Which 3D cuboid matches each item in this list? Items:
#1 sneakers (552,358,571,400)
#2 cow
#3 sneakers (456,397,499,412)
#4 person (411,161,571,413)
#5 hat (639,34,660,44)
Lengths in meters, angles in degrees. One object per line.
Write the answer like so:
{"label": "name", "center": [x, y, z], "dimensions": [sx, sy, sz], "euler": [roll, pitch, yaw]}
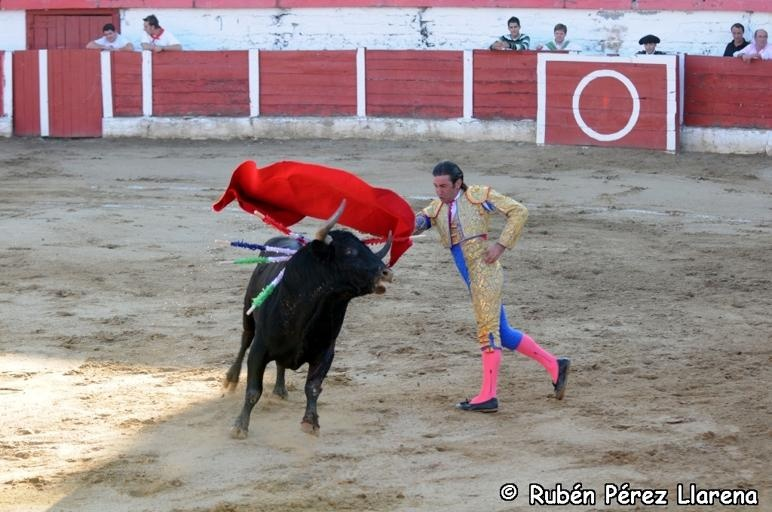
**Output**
{"label": "sneakers", "center": [1.391, 0.994, 10.196], "dimensions": [0.181, 0.303, 0.132], "euler": [3, 15, -4]}
{"label": "cow", "center": [-0.597, 0.457, 9.915], "dimensions": [1.160, 1.859, 0.933], "euler": [1, 11, -4]}
{"label": "sneakers", "center": [0.744, 1.200, 10.188], "dimensions": [0.376, 0.096, 0.110], "euler": [2, 3, 4]}
{"label": "person", "center": [0.842, 0.246, 10.181], "dimensions": [1.268, 1.993, 0.518], "euler": [2, 11, 1]}
{"label": "hat", "center": [3.759, -3.066, 17.948], "dimensions": [0.247, 0.069, 0.236], "euler": [0, 1, 41]}
